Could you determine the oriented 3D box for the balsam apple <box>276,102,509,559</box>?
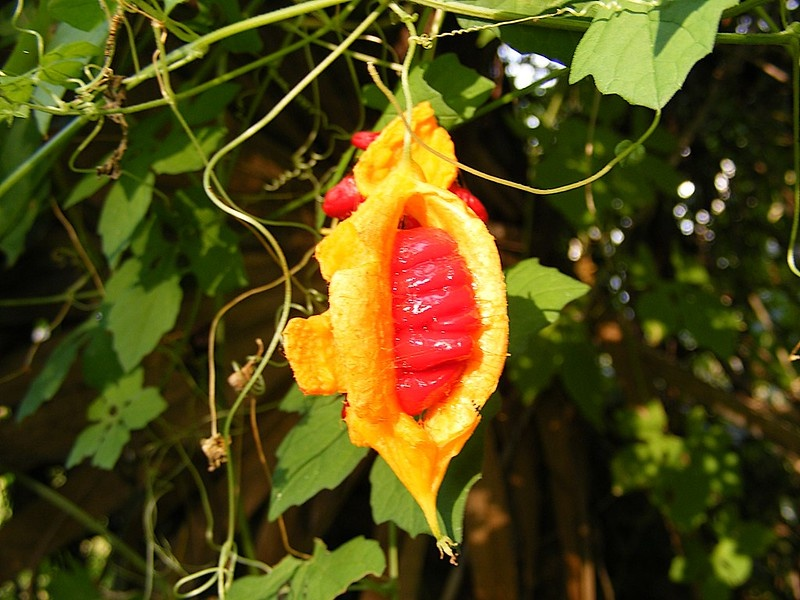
[{"bbox_3d":[0.000,0.040,1.175,0.378,0.642,0.226,-5,-8,2],"label":"balsam apple"}]
